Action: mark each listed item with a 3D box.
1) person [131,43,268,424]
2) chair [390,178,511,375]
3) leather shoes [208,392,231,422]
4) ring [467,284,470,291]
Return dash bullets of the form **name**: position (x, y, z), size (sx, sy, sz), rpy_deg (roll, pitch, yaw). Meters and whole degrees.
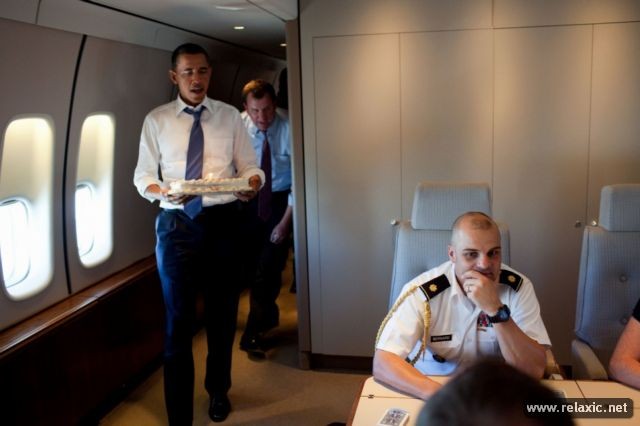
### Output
- **person**: position (-1.017, 0.222, 4.035), size (1.024, 3.256, 0.752), rpy_deg (-6, 14, -24)
- **chair**: position (0.914, 0.309, 3.155), size (0.934, 1.099, 0.961), rpy_deg (1, -2, -4)
- **leather shoes**: position (-0.917, 1.776, 4.192), size (0.138, 0.248, 0.242), rpy_deg (-1, -13, 1)
- **ring**: position (0.898, 0.444, 2.745), size (0.027, 0.042, 0.021), rpy_deg (7, 15, 29)
